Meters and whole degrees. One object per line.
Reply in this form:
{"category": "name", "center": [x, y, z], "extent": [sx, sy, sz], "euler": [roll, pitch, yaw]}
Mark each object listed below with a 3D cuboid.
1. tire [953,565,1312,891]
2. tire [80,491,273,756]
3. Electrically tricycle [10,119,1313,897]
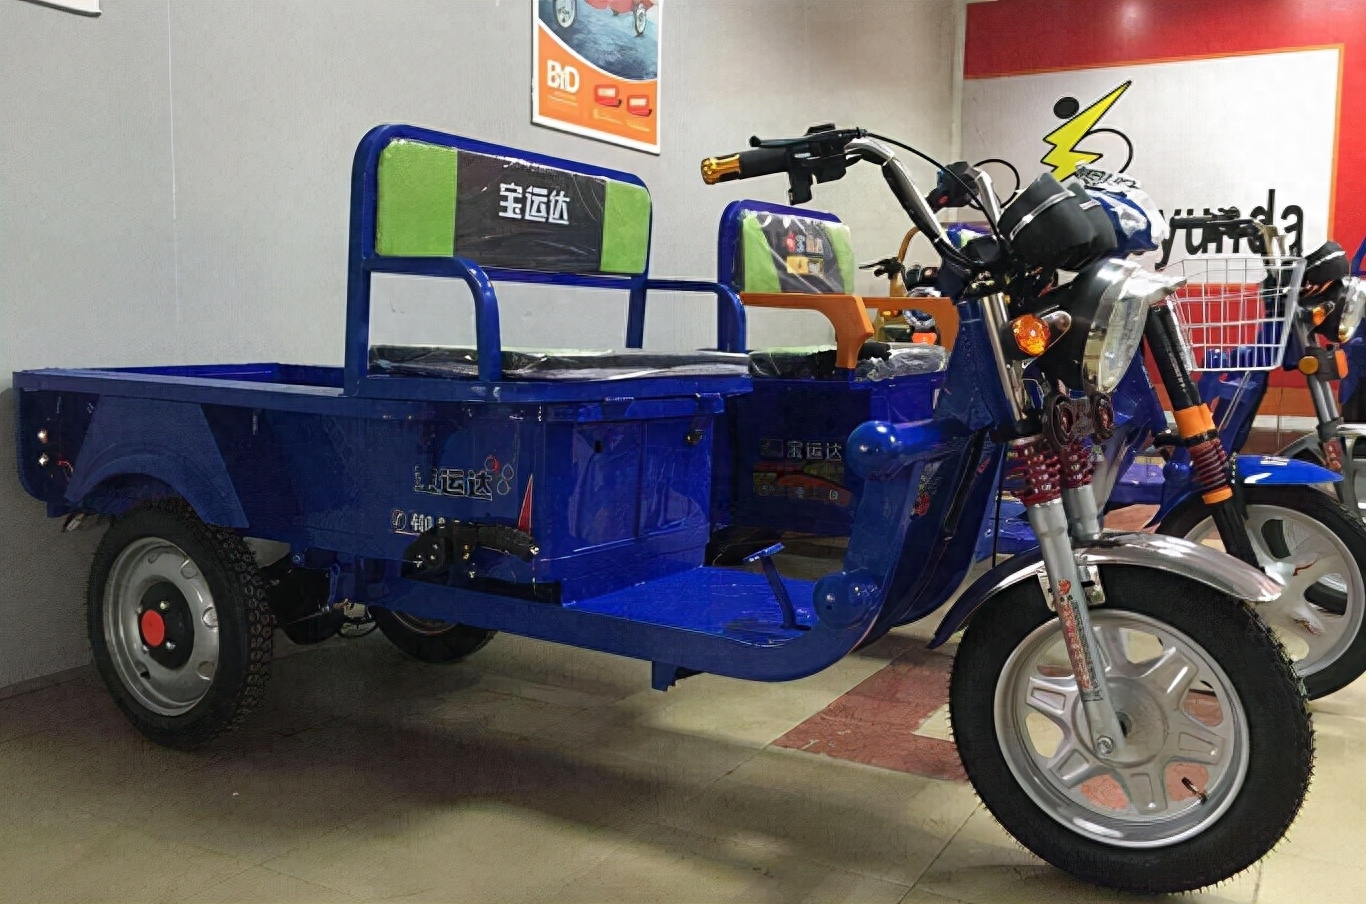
{"category": "tire", "center": [1.075, 0.684, 2.374], "extent": [0.833, 0.834, 0.155], "euler": [1, 4, 31]}
{"category": "tire", "center": [-1.555, 0.527, 3.022], "extent": [0.794, 0.884, 0.195], "euler": [-1, 5, 30]}
{"category": "Electrically tricycle", "center": [-0.314, 0.000, 3.363], "extent": [4.174, 2.134, 1.891], "euler": [4, 8, 31]}
